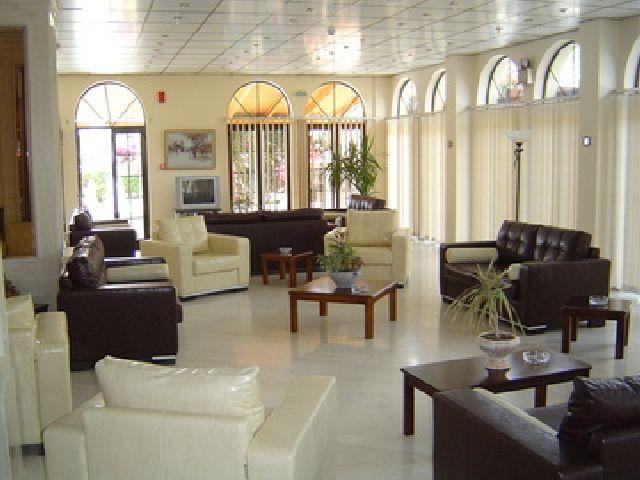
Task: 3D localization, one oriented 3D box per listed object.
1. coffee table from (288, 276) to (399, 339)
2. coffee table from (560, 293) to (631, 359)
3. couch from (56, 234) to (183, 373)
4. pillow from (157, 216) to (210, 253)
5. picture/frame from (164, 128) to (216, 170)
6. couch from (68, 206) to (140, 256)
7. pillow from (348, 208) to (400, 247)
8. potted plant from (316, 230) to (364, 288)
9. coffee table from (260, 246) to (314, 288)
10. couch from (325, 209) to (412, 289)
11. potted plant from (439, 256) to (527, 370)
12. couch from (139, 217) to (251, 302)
[{"bbox_3d":[0.266,0.780,6.620,1.184,0.568,0.941,-2,5,15],"label":"coffee table"},{"bbox_3d":[2.811,0.730,5.668,0.587,0.414,0.876,0,5,17],"label":"coffee table"},{"bbox_3d":[-1.976,0.655,5.664,1.030,1.052,1.578,-2,7,-15],"label":"couch"},{"bbox_3d":[-2.281,-0.049,8.836,0.262,0.598,0.638,-1,9,38],"label":"pillow"},{"bbox_3d":[-3.502,-2.417,14.636,1.151,0.886,0.062,0,10,-7],"label":"picture/frame"},{"bbox_3d":[-3.768,-0.099,9.989,1.169,0.948,1.177,-1,7,-12],"label":"couch"},{"bbox_3d":[0.830,-0.215,9.400,0.674,0.494,0.638,0,2,-4],"label":"pillow"},{"bbox_3d":[0.256,0.249,6.886,0.636,0.876,0.667,-3,6,1],"label":"potted plant"},{"bbox_3d":[-0.502,0.382,9.173,0.681,0.493,0.681,3,10,27],"label":"coffee table"},{"bbox_3d":[0.822,0.091,9.180,1.337,1.228,1.233,1,1,14],"label":"couch"},{"bbox_3d":[1.608,0.728,5.458,0.880,1.157,0.830,-4,8,-33],"label":"potted plant"},{"bbox_3d":[-1.959,0.352,8.633,1.287,1.275,1.568,4,6,41],"label":"couch"}]
